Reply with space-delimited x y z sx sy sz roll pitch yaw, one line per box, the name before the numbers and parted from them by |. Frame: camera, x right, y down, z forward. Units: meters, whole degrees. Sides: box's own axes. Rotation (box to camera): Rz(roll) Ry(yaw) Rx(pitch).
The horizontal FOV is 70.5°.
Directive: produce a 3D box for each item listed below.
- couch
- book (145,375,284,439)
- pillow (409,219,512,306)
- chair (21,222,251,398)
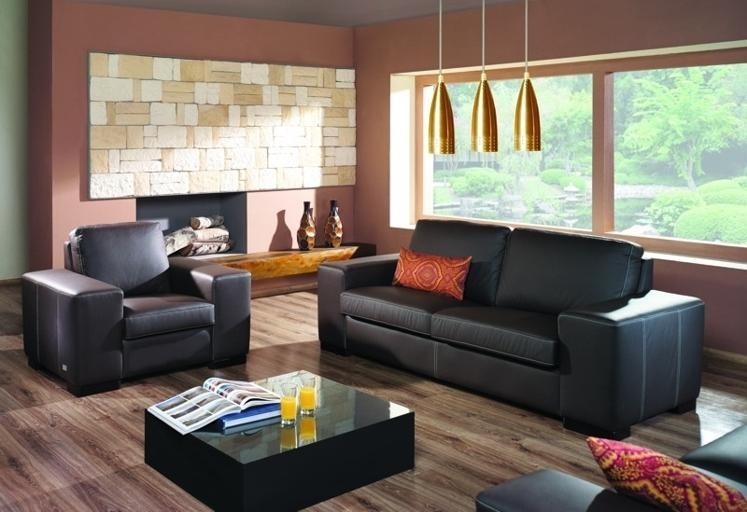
couch | 0.986 0.412 3.996 2.425 1.139 0.946 7 13 41
book | -0.873 0.787 2.791 0.284 0.053 0.413 10 15 43
pillow | 0.767 0.029 4.410 0.910 0.648 0.246 12 -8 43
chair | -1.948 0.434 4.440 1.897 1.343 1.311 -3 6 -42
